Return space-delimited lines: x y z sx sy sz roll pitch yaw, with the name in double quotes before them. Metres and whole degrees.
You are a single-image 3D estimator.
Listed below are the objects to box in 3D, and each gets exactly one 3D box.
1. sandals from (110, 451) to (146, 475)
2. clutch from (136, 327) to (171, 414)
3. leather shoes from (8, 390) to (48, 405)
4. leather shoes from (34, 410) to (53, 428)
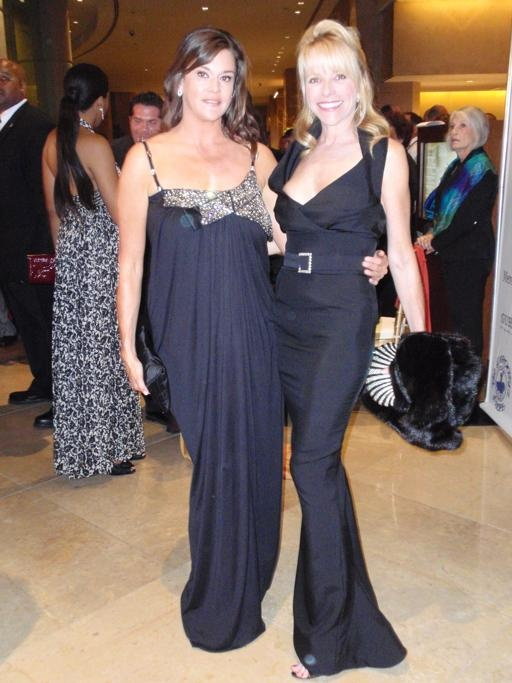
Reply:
"sandals" -0.656 0.638 2.817 0.055 0.114 0.168 17 25 41
"clutch" -0.274 0.081 1.445 0.066 0.241 0.096 -6 9 -27
"leather shoes" -1.582 0.394 3.763 0.201 0.086 0.103 6 -3 -30
"leather shoes" -1.309 0.496 3.374 0.139 0.081 0.065 4 -4 -14
